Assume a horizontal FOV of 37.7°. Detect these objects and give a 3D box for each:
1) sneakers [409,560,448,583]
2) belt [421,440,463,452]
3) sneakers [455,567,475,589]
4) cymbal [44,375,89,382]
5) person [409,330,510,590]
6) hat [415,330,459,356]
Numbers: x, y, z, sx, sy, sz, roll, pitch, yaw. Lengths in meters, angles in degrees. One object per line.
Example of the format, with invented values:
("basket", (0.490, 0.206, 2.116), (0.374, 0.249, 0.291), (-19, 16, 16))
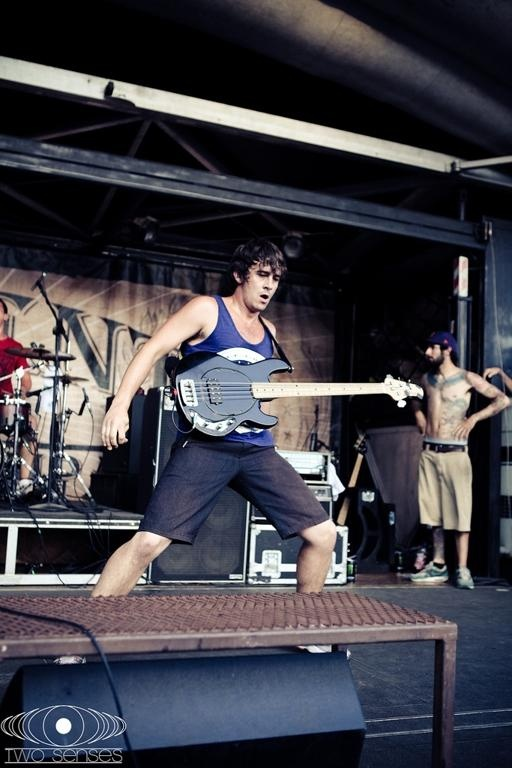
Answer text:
("sneakers", (1.212, 1.318, 5.213), (0.322, 0.126, 0.103), (1, -4, -13))
("belt", (1.300, 0.439, 5.255), (0.093, 0.083, 0.313), (4, 0, -42))
("sneakers", (1.369, 1.276, 4.924), (0.111, 0.143, 0.123), (5, 1, 5))
("cymbal", (-1.414, -0.044, 5.572), (0.159, 0.035, 0.159), (-4, -2, 34))
("person", (1.344, 0.513, 5.166), (0.601, 1.812, 0.545), (6, 0, 19))
("hat", (1.314, -0.295, 5.323), (0.303, 0.145, 0.178), (10, -2, -4))
